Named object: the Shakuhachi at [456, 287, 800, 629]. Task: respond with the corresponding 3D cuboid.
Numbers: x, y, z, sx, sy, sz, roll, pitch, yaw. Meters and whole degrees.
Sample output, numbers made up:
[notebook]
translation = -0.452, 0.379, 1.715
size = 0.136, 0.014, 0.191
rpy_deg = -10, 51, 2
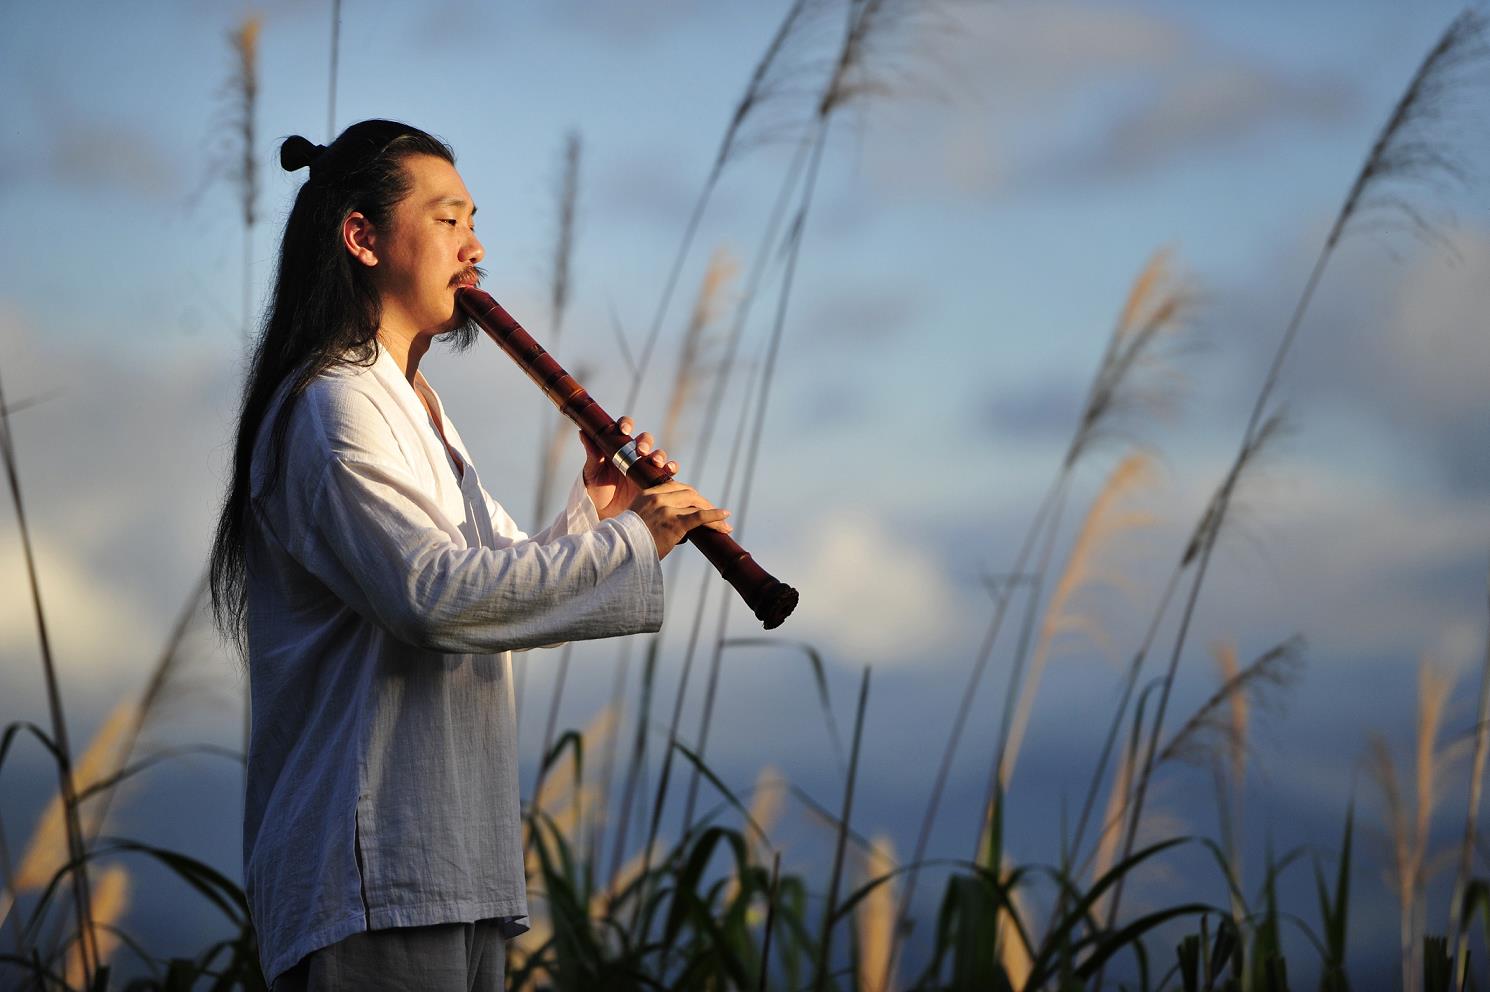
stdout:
[Shakuhachi]
translation = -0.185, -0.056, 3.590
size = 0.144, 0.857, 0.149
rpy_deg = -43, -31, -10
